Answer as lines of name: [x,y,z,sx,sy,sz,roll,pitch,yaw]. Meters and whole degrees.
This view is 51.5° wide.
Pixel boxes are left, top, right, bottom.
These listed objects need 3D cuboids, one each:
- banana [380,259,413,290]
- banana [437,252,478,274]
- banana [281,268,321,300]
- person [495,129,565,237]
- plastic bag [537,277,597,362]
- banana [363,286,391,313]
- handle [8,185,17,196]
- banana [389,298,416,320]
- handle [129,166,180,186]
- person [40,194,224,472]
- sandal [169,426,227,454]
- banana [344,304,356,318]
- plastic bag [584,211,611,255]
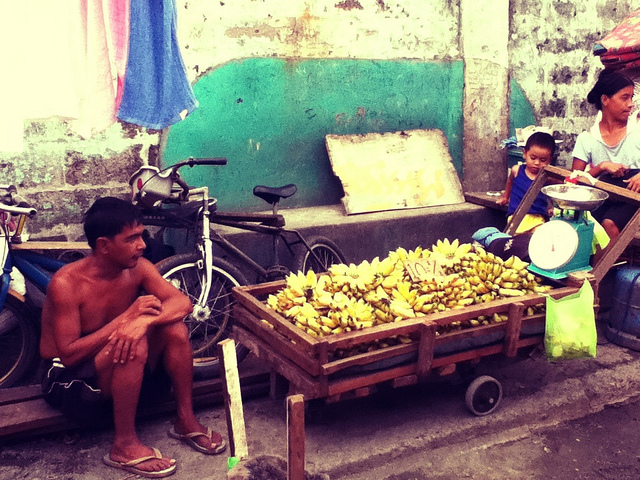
banana: [0.601,0.225,4.977,0.109,0.151,0.408,30,28,13]
banana: [1.058,0.189,5.120,0.166,0.049,0.173,-17,19,13]
banana: [-0.149,0.367,4.994,0.223,0.099,0.233,-13,42,-7]
person: [2.043,-0.579,6.558,0.605,0.873,1.463,0,17,15]
plastic bag: [1.813,0.586,4.844,0.404,0.558,0.180,-6,-3,-5]
banana: [0.430,0.431,4.789,0.158,0.169,0.044,-22,12,2]
handle: [-2.263,-0.369,4.913,0.069,0.093,0.057,1,-17,-17]
banana: [0.580,0.492,4.676,0.179,0.101,0.126,-2,17,10]
handle: [-1.282,-0.506,5.085,0.352,0.132,0.152,-9,17,-16]
person: [-1.336,0.640,4.489,1.078,1.788,0.690,-13,18,-26]
sandal: [-0.862,1.353,4.716,0.382,0.109,0.157,16,20,26]
banana: [0.205,0.490,4.513,0.032,0.040,0.149,-6,49,-31]
plastic bag: [2.265,-0.042,5.418,0.176,0.346,0.332,-2,8,11]
